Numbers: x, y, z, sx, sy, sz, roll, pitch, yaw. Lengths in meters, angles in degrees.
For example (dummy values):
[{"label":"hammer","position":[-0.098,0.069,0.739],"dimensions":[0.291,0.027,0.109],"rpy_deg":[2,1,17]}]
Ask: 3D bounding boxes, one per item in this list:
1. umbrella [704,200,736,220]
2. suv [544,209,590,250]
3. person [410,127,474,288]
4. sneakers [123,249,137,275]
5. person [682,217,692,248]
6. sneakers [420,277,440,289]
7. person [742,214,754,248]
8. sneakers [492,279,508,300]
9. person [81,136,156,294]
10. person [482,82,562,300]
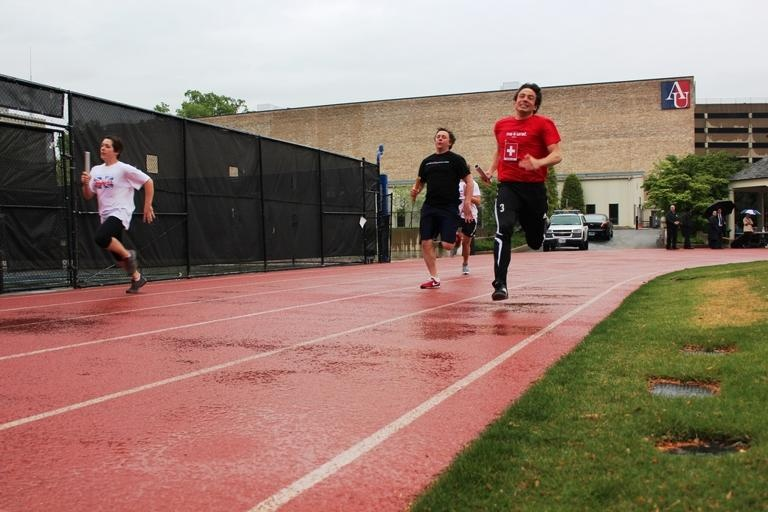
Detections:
[{"label":"umbrella","position":[18.004,-2.430,34.328],"dimensions":[1.330,1.260,0.620],"rpy_deg":[3,51,5]},{"label":"suv","position":[9.384,-1.250,32.434],"dimensions":[2.251,1.905,4.502],"rpy_deg":[-1,-2,21]},{"label":"person","position":[0.917,-0.698,10.042],"dimensions":[0.918,2.540,1.495],"rpy_deg":[-2,9,3]},{"label":"sneakers","position":[-3.862,0.094,9.791],"dimensions":[0.141,0.399,0.166],"rpy_deg":[-7,11,37]},{"label":"person","position":[14.009,-1.136,29.763],"dimensions":[0.355,1.590,0.817],"rpy_deg":[1,10,20]},{"label":"sneakers","position":[0.696,0.431,9.942],"dimensions":[0.373,0.150,0.130],"rpy_deg":[0,-2,-8]},{"label":"person","position":[17.747,-1.135,31.267],"dimensions":[0.448,1.353,2.321],"rpy_deg":[3,10,29]},{"label":"sneakers","position":[1.317,0.393,7.302],"dimensions":[0.145,0.251,0.250],"rpy_deg":[0,9,13]},{"label":"person","position":[-3.971,-0.601,9.700],"dimensions":[0.948,2.341,0.805],"rpy_deg":[-7,10,-24]},{"label":"person","position":[1.612,-0.724,7.631],"dimensions":[0.968,2.596,1.187],"rpy_deg":[1,10,21]}]
